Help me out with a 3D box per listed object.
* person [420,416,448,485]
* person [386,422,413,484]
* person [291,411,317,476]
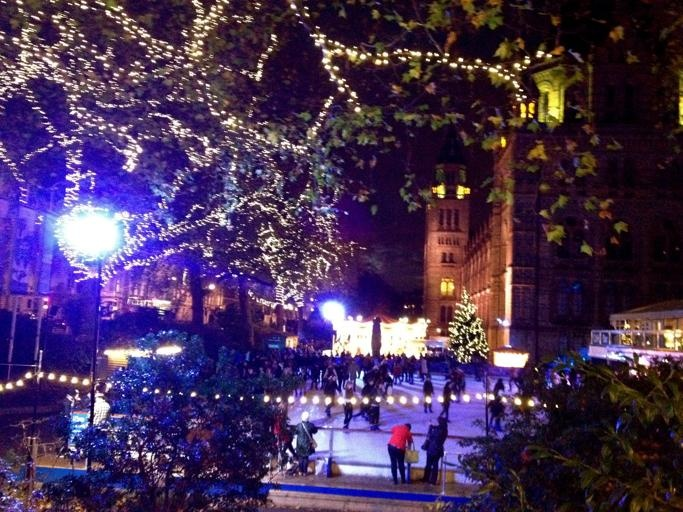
[{"bbox_3d":[2.162,4.546,16.539,0.551,1.530,0.835,0,-10,6],"label":"person"},{"bbox_3d":[1.360,4.595,16.414,0.503,1.336,0.894,0,-10,4],"label":"person"},{"bbox_3d":[-0.896,4.537,17.084,0.566,1.413,1.343,1,-10,-3],"label":"person"}]
